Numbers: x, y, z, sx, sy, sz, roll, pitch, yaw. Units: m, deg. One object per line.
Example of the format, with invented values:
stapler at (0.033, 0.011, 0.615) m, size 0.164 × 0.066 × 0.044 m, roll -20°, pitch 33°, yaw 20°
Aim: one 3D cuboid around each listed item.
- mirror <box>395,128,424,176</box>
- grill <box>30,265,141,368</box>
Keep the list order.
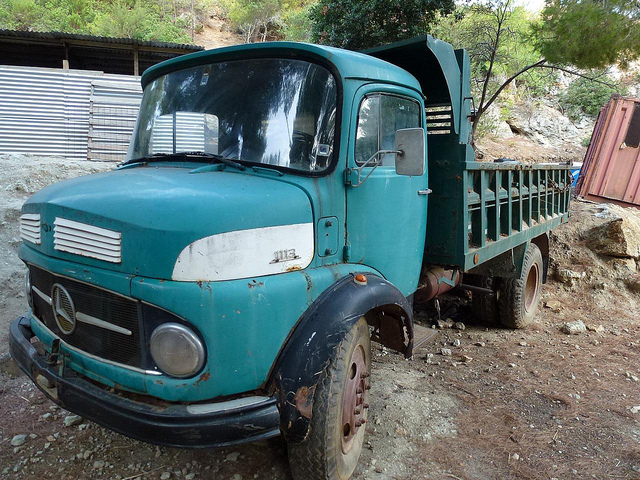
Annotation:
mirror at (0.645, -0.636, 3.146) m, size 0.298 × 0.430 × 0.050 m, roll 7°, pitch 14°, yaw 37°
grill at (-1.614, 0.476, 2.955) m, size 1.162 × 0.451 × 0.190 m, roll 13°, pitch 13°, yaw 26°
